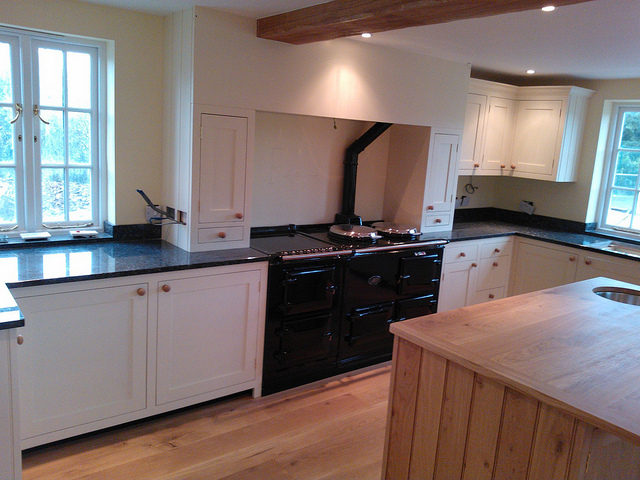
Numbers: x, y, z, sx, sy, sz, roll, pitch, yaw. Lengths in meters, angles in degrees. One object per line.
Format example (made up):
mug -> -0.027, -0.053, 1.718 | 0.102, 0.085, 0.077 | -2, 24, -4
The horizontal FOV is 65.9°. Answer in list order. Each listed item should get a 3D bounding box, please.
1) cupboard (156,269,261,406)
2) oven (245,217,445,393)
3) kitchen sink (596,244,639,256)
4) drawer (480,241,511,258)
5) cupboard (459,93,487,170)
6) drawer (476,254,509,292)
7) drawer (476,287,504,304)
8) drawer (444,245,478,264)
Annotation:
cupboard -> -0.912, 0.617, 3.493 | 0.651, 0.916, 0.843 | 6, 7, 37
oven -> 0.151, 0.455, 4.233 | 1.690, 1.076, 0.916 | -6, 17, -35
kitchen sink -> 2.818, 0.091, 4.606 | 0.301, 0.081, 0.385 | 9, 14, 38
drawer -> 1.741, 0.092, 4.866 | 0.279, 0.111, 0.185 | -4, 10, -30
cupboard -> 1.501, -1.054, 4.827 | 0.200, 0.677, 0.331 | 16, 18, 40
drawer -> 1.698, 0.317, 4.886 | 0.372, 0.308, 0.196 | -7, 13, -31
drawer -> 1.701, 0.558, 4.954 | 0.307, 0.177, 0.192 | -6, 10, -33
drawer -> 1.315, 0.132, 4.560 | 0.283, 0.125, 0.188 | -7, 11, -33
